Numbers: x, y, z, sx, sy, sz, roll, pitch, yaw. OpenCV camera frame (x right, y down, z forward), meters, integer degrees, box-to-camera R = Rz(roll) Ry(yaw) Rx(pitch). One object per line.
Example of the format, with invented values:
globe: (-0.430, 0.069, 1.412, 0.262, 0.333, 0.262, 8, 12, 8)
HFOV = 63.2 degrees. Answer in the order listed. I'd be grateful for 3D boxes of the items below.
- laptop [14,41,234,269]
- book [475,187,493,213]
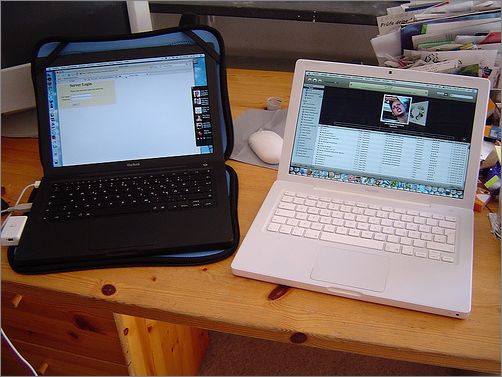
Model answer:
laptop: (-0.294, -0.008, 1.107, 0.608, 0.342, 0.513, -3, 51, -1)
book: (0.556, 0.025, 0.984, 0.053, 0.012, 0.052, 27, 56, 34)
